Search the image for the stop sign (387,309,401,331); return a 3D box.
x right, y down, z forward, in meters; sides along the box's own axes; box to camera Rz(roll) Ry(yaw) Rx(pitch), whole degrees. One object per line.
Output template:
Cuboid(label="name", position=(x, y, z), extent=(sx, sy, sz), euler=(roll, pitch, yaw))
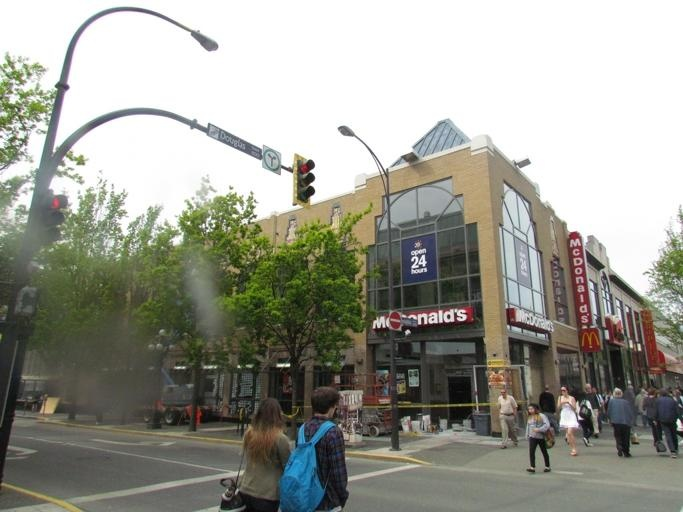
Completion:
Cuboid(label="stop sign", position=(2.055, 2.434, 18.803), extent=(0.451, 0.799, 0.597), euler=(-7, -20, 20))

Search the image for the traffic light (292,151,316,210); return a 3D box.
Cuboid(label="traffic light", position=(-0.994, -1.995, 12.837), extent=(0.558, 1.316, 0.532), euler=(4, -18, -11))

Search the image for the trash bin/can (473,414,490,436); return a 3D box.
Cuboid(label="trash bin/can", position=(6.700, 7.941, 23.147), extent=(0.877, 1.018, 0.803), euler=(4, -13, -6))
